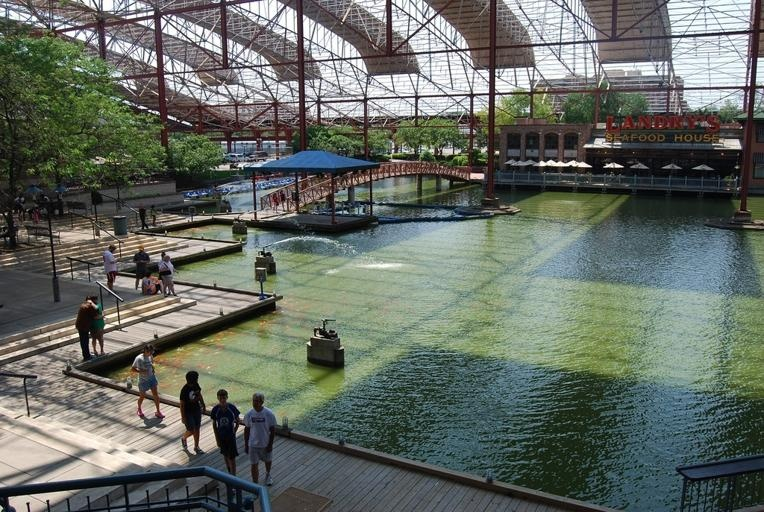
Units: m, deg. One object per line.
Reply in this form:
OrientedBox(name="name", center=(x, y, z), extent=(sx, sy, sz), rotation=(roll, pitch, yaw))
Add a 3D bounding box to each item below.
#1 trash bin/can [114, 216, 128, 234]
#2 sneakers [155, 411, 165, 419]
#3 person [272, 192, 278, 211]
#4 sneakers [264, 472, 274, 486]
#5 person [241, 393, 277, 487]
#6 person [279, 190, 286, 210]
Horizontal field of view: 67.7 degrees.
OrientedBox(name="trash bin/can", center=(-14.962, -1.683, 32.599), extent=(0.649, 1.137, 0.685), rotation=(-13, 11, -30))
OrientedBox(name="sneakers", center=(-5.790, 4.142, 14.882), extent=(0.220, 0.208, 0.183), rotation=(-10, 10, -22))
OrientedBox(name="person", center=(-8.545, -4.390, 45.878), extent=(0.369, 1.380, 0.592), rotation=(-7, 10, 9))
OrientedBox(name="sneakers", center=(-2.462, 4.892, 12.467), extent=(0.147, 0.122, 0.358), rotation=(4, -7, -31))
OrientedBox(name="person", center=(-2.592, 3.916, 12.213), extent=(0.720, 2.216, 0.635), rotation=(-11, 10, -14))
OrientedBox(name="person", center=(-8.031, -4.546, 46.405), extent=(0.559, 1.583, 1.331), rotation=(-9, 9, -7))
